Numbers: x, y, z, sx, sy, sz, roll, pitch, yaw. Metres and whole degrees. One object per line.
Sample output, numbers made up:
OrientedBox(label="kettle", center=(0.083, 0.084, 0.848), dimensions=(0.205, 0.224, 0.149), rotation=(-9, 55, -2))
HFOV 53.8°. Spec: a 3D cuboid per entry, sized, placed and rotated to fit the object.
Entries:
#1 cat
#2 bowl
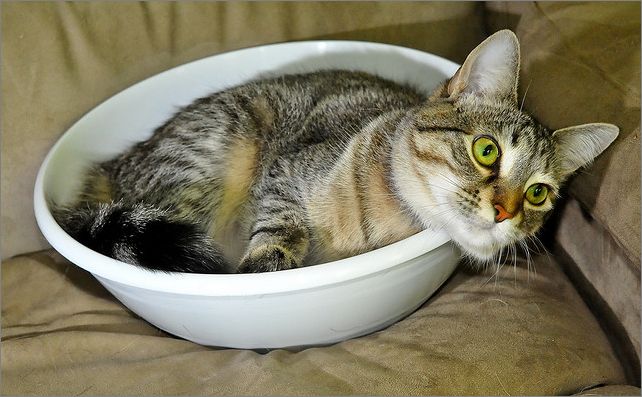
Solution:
OrientedBox(label="cat", center=(0.030, -0.081, 1.924), dimensions=(1.269, 0.528, 0.817), rotation=(6, 25, 35))
OrientedBox(label="bowl", center=(-0.225, -0.048, 2.003), dimensions=(1.203, 0.395, 0.978), rotation=(-6, 44, -4))
